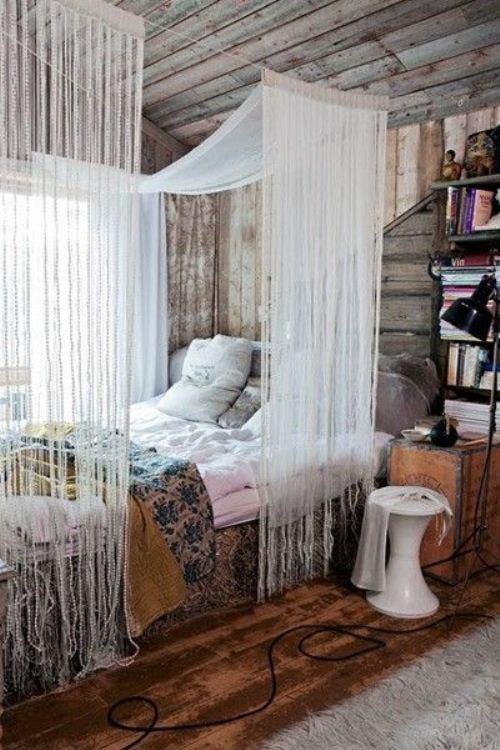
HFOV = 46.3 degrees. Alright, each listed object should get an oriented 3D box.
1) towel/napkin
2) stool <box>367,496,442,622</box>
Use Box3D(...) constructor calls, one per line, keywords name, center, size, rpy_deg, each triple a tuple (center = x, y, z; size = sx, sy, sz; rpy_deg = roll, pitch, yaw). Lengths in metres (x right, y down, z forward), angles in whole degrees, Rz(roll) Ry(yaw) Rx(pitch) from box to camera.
Box3D(name="towel/napkin", center=(0.563, 0.640, 2.423), size=(0.399, 0.428, 0.416), rpy_deg=(10, 3, 5))
Box3D(name="stool", center=(0.616, 0.724, 2.351), size=(0.331, 0.372, 0.329), rpy_deg=(-9, -16, 43))
